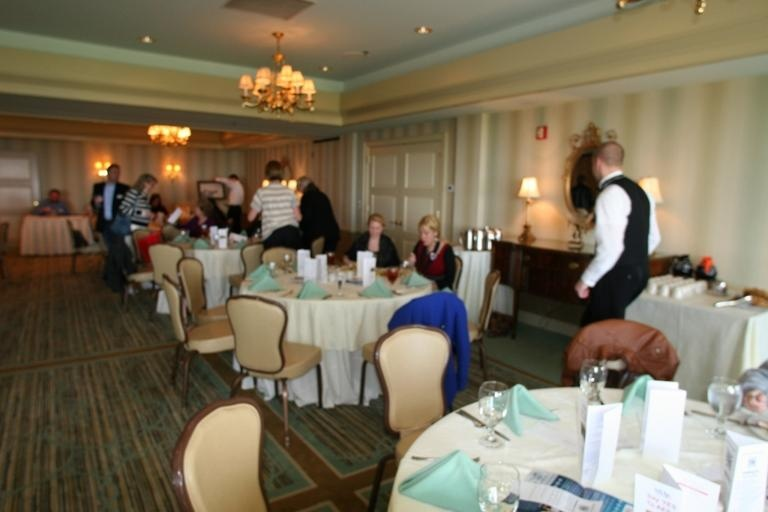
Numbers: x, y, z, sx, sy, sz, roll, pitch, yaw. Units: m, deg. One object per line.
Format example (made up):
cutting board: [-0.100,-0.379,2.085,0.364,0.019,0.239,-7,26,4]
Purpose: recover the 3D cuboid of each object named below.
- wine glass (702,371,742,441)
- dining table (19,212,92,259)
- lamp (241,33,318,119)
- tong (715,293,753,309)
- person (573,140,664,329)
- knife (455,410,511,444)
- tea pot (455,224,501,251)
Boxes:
wine glass: [2.031,0.886,3.132,0.152,0.346,0.266,6,10,36]
dining table: [-6.782,-0.429,10.641,0.965,0.544,0.956,0,1,-19]
lamp: [-1.463,-2.531,7.221,1.162,1.164,1.051,-2,5,-20]
tong: [3.245,0.427,4.956,0.482,0.130,0.130,-5,10,-17]
person: [2.106,-0.201,4.765,0.590,1.637,0.354,4,9,22]
knife: [0.573,1.007,3.262,0.106,0.032,0.606,-3,10,-27]
tea pot: [1.335,-0.241,7.308,0.480,0.329,0.335,-2,3,-35]
